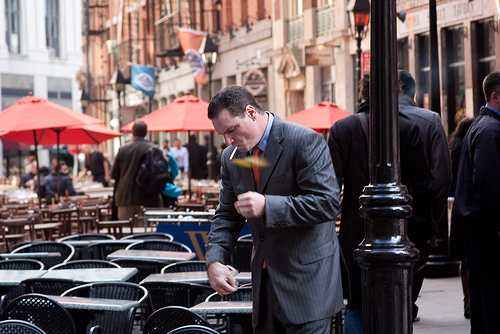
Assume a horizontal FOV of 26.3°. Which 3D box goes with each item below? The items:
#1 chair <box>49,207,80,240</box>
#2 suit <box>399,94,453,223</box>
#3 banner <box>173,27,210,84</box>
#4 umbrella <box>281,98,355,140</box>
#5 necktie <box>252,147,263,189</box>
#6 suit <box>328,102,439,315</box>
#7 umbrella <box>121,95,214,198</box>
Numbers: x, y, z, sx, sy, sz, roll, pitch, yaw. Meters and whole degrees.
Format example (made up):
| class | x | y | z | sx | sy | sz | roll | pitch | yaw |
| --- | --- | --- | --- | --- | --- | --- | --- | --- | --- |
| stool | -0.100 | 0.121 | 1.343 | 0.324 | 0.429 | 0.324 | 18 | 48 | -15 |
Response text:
| class | x | y | z | sx | sy | sz | roll | pitch | yaw |
| --- | --- | --- | --- | --- | --- | --- | --- | --- | --- |
| chair | -4.106 | 1.239 | 23.716 | 0.456 | 0.837 | 0.521 | -3 | 29 | -10 |
| suit | 2.787 | -0.114 | 16.935 | 0.642 | 1.754 | 1.221 | -8 | 5 | -6 |
| banner | -2.151 | -4.221 | 40.679 | 1.051 | 1.942 | 2.719 | -1 | -1 | -2 |
| umbrella | 1.751 | -1.241 | 26.112 | 1.358 | 0.721 | 1.403 | -4 | 3 | -35 |
| necktie | 0.118 | 0.015 | 15.325 | 0.124 | 0.586 | 0.093 | -6 | -7 | 30 |
| suit | 1.990 | 1.227 | 16.587 | 1.833 | 4.460 | 1.349 | 5 | 9 | 25 |
| umbrella | -1.864 | -0.699 | 26.550 | 2.617 | 2.109 | 2.554 | -1 | 0 | 7 |
